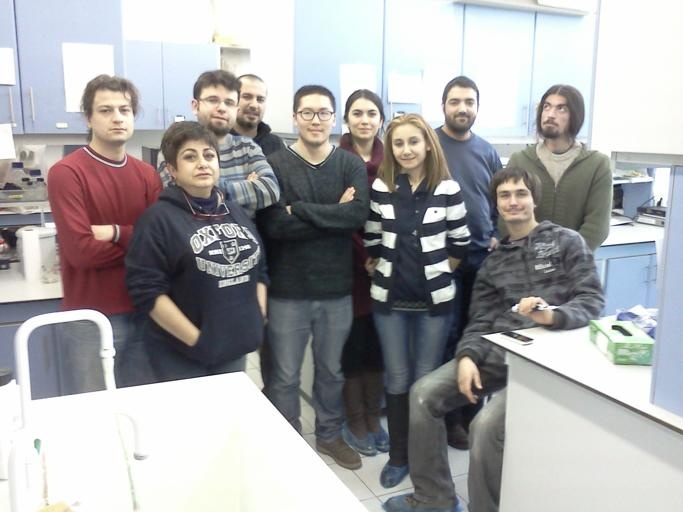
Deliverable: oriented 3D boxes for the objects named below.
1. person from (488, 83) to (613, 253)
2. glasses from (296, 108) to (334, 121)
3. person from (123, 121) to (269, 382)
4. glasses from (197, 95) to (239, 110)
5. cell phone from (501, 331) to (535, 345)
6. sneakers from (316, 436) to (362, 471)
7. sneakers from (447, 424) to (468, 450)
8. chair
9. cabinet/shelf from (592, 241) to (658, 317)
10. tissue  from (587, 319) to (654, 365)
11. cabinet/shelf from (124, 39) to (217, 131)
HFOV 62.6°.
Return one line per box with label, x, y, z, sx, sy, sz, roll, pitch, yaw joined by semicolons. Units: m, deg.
person;1.118;-0.298;2.972;0.627;1.134;0.595;6;15;26
glasses;-0.119;-0.640;2.546;0.159;0.056;0.056;-3;14;-3
person;-0.570;-0.014;2.170;0.504;0.987;0.335;-6;14;-13
glasses;-0.539;-0.673;2.438;0.163;0.052;0.063;-5;14;-12
cell phone;0.672;0.308;2.131;0.044;0.012;0.075;-12;19;-36
sneakers;-0.008;0.971;2.828;0.261;0.098;0.098;15;23;38
sneakers;0.600;0.939;2.910;0.065;0.073;0.175;-6;5;-37
chair;-0.674;0.223;1.353;0.210;0.224;0.204;-11;16;-31
cabinet/shelf;1.652;0.114;3.292;0.462;0.413;0.240;-7;8;-32
tissue ;0.988;0.296;1.948;0.126;0.071;0.223;-2;16;-2
cabinet/shelf;-1.296;-1.342;4.358;0.270;0.625;0.757;12;21;23
